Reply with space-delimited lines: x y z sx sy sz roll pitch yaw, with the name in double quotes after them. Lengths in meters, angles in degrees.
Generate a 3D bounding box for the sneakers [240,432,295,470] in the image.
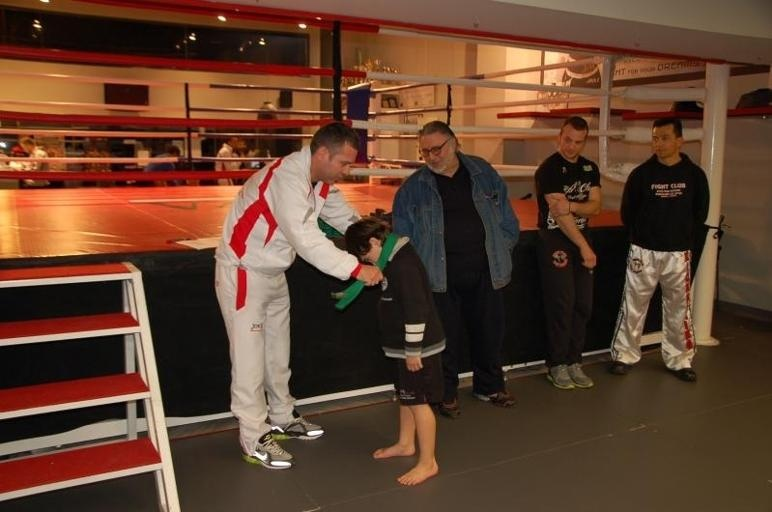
-0.691 1.156 3.305 0.371 0.180 0.146 5 7 27 "sneakers"

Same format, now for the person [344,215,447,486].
0.120 0.525 3.150 0.399 1.476 0.467 -12 17 -28 "person"

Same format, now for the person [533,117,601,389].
1.404 -0.015 4.068 0.496 1.977 0.503 -6 15 -7 "person"

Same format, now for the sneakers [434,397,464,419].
0.423 1.037 3.785 0.098 0.109 0.253 -4 6 -42 "sneakers"

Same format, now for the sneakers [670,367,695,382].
2.328 0.917 4.253 0.186 0.071 0.147 4 15 27 "sneakers"

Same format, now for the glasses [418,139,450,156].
0.308 -0.680 3.470 0.125 0.040 0.131 -3 20 37 "glasses"

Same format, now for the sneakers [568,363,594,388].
1.476 0.912 4.165 0.101 0.096 0.250 -3 9 -18 "sneakers"

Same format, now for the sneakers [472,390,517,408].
0.775 0.996 3.882 0.223 0.063 0.111 4 9 40 "sneakers"

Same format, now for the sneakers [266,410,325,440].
-0.568 1.114 3.569 0.382 0.169 0.133 0 -1 -2 "sneakers"

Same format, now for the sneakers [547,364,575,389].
1.326 0.916 4.108 0.102 0.109 0.238 -2 3 -20 "sneakers"

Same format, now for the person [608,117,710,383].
2.149 -0.045 4.238 0.693 1.948 0.560 0 15 15 "person"
